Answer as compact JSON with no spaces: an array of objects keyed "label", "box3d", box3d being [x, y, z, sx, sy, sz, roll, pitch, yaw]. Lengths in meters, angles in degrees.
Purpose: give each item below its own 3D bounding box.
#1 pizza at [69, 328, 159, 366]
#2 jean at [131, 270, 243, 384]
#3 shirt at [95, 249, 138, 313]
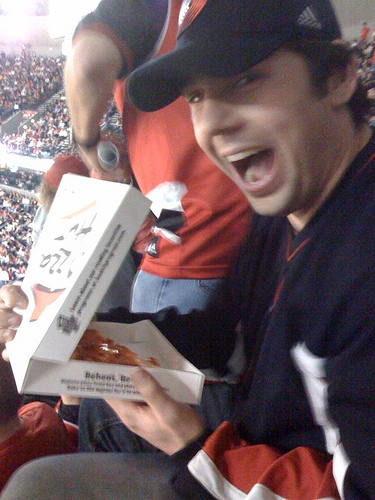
[{"label":"pizza","box3d":[-0.153,0.193,0.985,0.125,0.083,0.038,6,84,-16]},{"label":"jean","box3d":[-0.052,0.157,1.451,0.287,0.493,0.370,-1,0,-11]},{"label":"shirt","box3d":[-0.199,0.100,1.416,0.045,0.171,0.176,22,40,-3]}]
